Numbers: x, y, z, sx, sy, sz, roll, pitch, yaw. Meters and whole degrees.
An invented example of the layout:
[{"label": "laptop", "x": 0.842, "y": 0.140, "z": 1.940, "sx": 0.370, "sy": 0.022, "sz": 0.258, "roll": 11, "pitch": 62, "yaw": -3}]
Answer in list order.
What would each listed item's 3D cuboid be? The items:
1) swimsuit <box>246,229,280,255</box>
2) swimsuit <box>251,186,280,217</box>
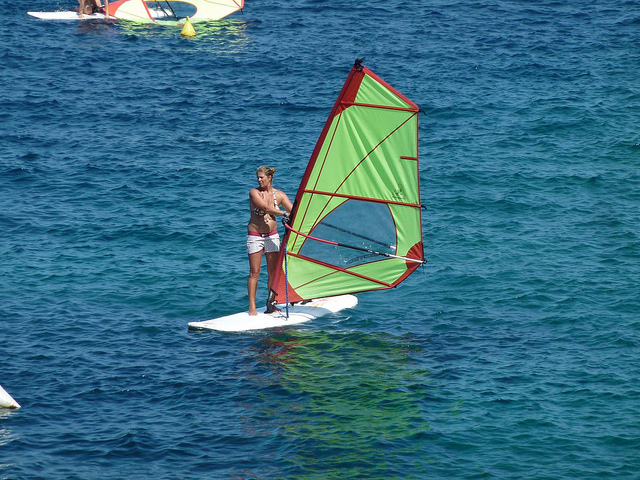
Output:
[{"label": "swimsuit", "x": -1.415, "y": 0.042, "z": 40.143, "sx": 1.279, "sy": 0.738, "sz": 0.587, "roll": -3, "pitch": 95, "yaw": -26}, {"label": "swimsuit", "x": -1.378, "y": -1.024, "z": 39.799, "sx": 0.716, "sy": 0.686, "sz": 0.630, "roll": 11, "pitch": 57, "yaw": -3}]
